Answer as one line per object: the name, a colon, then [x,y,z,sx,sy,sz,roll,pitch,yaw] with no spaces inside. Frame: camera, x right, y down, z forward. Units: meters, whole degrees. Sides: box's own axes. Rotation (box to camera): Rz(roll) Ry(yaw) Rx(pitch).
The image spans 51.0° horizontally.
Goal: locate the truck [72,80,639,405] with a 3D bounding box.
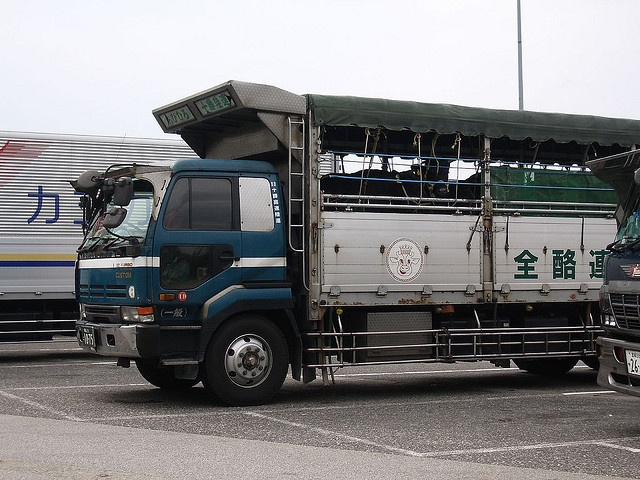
truck: [-0.241,0.258,11.504,11.077,4.910,3.910,3,-6,-26]
